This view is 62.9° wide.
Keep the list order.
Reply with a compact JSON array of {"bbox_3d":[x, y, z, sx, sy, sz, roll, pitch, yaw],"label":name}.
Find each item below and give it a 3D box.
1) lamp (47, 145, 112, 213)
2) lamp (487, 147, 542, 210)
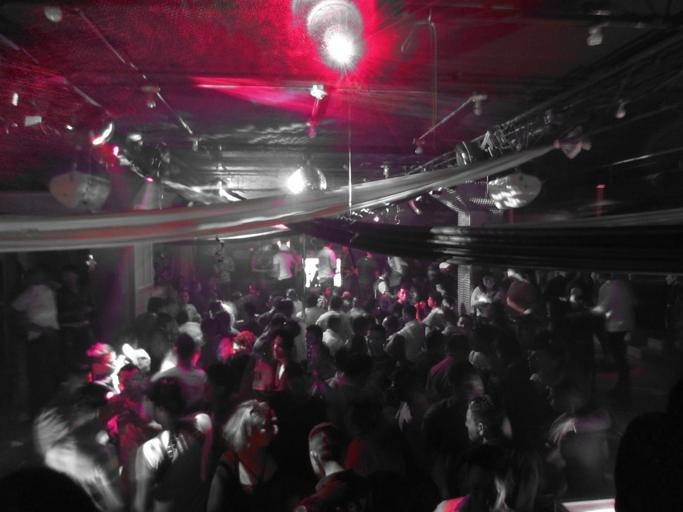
[{"bbox_3d":[-2.833,-0.849,6.000,0.559,0.604,1.184,5,-6,-18],"label":"lamp"},{"bbox_3d":[1.940,-0.814,5.979,0.626,0.380,0.585,4,-30,19],"label":"lamp"}]
